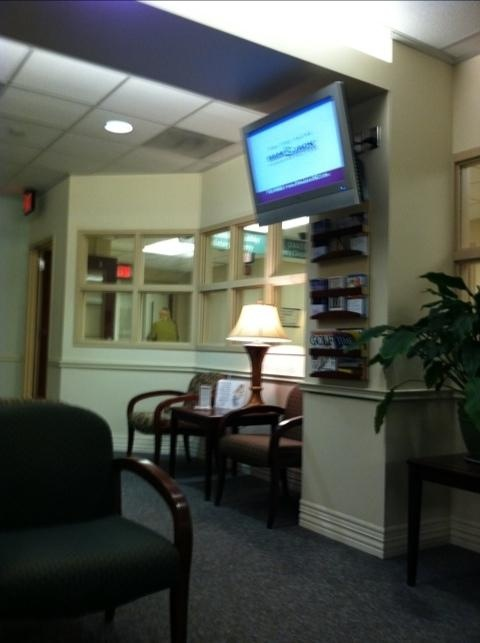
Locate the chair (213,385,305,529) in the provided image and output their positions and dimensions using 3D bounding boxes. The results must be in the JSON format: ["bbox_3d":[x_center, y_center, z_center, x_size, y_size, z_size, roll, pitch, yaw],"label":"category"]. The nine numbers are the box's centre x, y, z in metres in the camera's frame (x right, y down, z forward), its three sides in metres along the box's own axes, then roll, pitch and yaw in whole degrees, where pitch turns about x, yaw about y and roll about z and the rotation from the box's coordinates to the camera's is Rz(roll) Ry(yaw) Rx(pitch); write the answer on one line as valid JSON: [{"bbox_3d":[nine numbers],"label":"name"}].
[{"bbox_3d":[0.219,0.874,3.312,0.604,0.938,0.708,7,-6,-19],"label":"chair"}]

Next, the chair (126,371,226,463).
[{"bbox_3d":[-0.631,0.931,4.713,0.791,0.887,0.682,9,-9,-36],"label":"chair"}]

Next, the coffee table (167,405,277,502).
[{"bbox_3d":[-0.119,0.893,3.799,0.739,0.678,0.749,-1,3,-27],"label":"coffee table"}]

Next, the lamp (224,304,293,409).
[{"bbox_3d":[0.134,0.291,3.943,0.492,0.863,0.491,0,-6,31],"label":"lamp"}]
